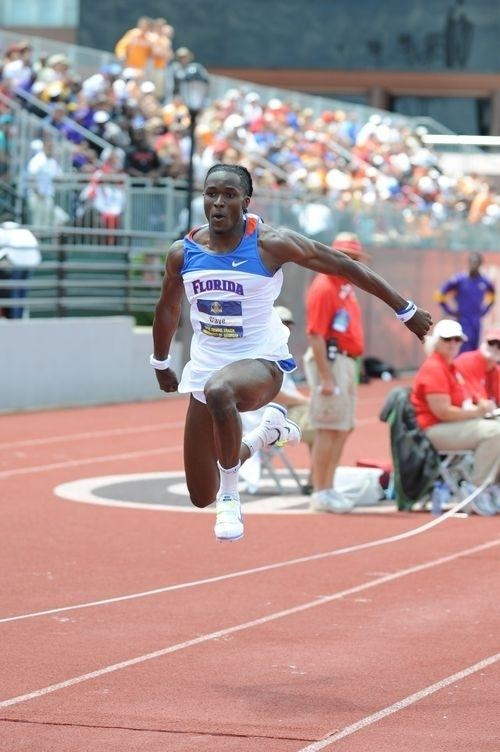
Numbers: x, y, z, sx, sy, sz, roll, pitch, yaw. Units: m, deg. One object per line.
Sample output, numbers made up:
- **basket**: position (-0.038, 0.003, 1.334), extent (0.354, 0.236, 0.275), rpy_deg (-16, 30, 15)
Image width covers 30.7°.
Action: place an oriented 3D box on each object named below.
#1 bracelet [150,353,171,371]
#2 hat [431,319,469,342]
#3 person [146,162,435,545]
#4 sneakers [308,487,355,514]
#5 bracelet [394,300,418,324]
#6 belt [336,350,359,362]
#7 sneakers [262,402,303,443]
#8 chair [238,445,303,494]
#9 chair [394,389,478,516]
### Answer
- **bracelet**: position (-0.503, -0.076, 5.050), extent (0.113, 0.066, 0.110), rpy_deg (3, 9, 8)
- **hat**: position (1.722, -0.402, 7.947), extent (0.227, 0.132, 0.287), rpy_deg (2, -1, -4)
- **person**: position (-0.057, -0.149, 4.401), extent (1.392, 1.697, 0.973), rpy_deg (7, 8, 41)
- **sneakers**: position (0.701, 1.097, 7.923), extent (0.406, 0.157, 0.174), rpy_deg (1, 1, 3)
- **bracelet**: position (0.767, -0.306, 4.396), extent (0.085, 0.105, 0.129), rpy_deg (34, 11, -14)
- **belt**: position (0.854, -0.177, 7.886), extent (0.135, 0.044, 0.090), rpy_deg (17, -7, -7)
- **sneakers**: position (0.181, 0.267, 4.937), extent (0.120, 0.130, 0.330), rpy_deg (-26, -22, 3)
- **chair**: position (0.206, 0.966, 9.163), extent (0.610, 0.687, 0.564), rpy_deg (-1, 0, 1)
- **chair**: position (1.478, 0.708, 7.895), extent (1.120, 1.032, 0.843), rpy_deg (0, 3, -1)
